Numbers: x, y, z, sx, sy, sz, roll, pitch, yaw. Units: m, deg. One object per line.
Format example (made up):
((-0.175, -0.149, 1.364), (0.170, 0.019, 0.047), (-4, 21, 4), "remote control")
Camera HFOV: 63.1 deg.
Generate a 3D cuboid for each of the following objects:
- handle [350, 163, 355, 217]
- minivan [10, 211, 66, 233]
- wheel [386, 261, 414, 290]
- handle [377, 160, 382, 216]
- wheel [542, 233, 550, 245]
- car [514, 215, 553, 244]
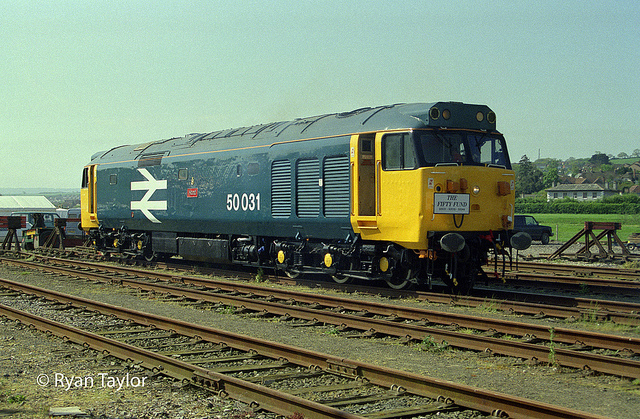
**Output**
((0.885, -0.550, 14.759), (0.111, 1.479, 0.247), (-2, -2, -3), "handle")
((-16.593, 0.788, 30.726), (2.101, 1.117, 1.377), (-1, 1, -9), "minivan")
((2.314, 1.913, 15.121), (0.658, 0.892, 1.045), (-2, -2, 1), "wheel")
((1.616, -0.626, 14.360), (0.023, 1.480, 0.171), (0, -3, -42), "handle")
((15.051, 1.930, 34.974), (0.268, 0.751, 0.771), (5, 6, 42), "wheel")
((13.823, 1.332, 35.677), (3.903, 1.818, 1.820), (-1, 3, -18), "car")
